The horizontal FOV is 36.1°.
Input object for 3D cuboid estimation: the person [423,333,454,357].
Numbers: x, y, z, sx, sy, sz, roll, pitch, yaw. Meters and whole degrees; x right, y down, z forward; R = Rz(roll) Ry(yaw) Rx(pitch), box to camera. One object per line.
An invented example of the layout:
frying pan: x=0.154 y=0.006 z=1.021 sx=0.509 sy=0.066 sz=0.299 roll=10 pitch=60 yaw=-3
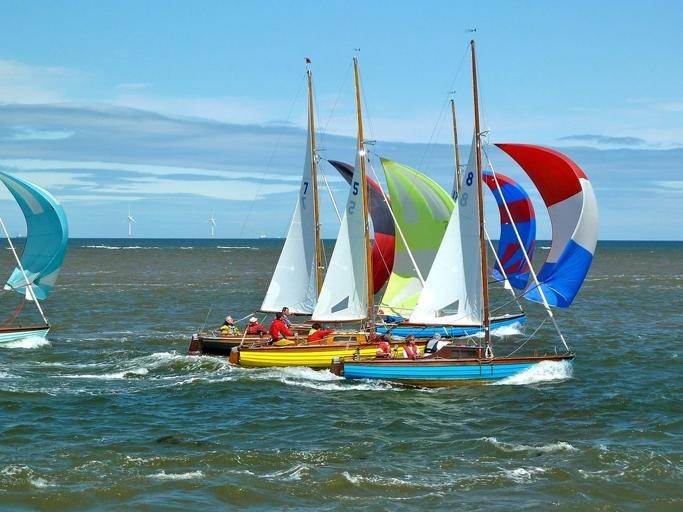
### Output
person: x=4.757 y=4.272 z=51.109 sx=0.979 sy=0.502 sz=1.260 roll=-12 pitch=10 yaw=40

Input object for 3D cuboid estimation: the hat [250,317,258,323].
hat: x=-4.717 y=3.426 z=55.650 sx=0.542 sy=0.208 sz=0.695 roll=-2 pitch=2 yaw=-13

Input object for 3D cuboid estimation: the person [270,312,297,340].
person: x=-3.078 y=3.625 z=53.813 sx=1.125 sy=1.416 sz=1.485 roll=0 pitch=2 yaw=5
